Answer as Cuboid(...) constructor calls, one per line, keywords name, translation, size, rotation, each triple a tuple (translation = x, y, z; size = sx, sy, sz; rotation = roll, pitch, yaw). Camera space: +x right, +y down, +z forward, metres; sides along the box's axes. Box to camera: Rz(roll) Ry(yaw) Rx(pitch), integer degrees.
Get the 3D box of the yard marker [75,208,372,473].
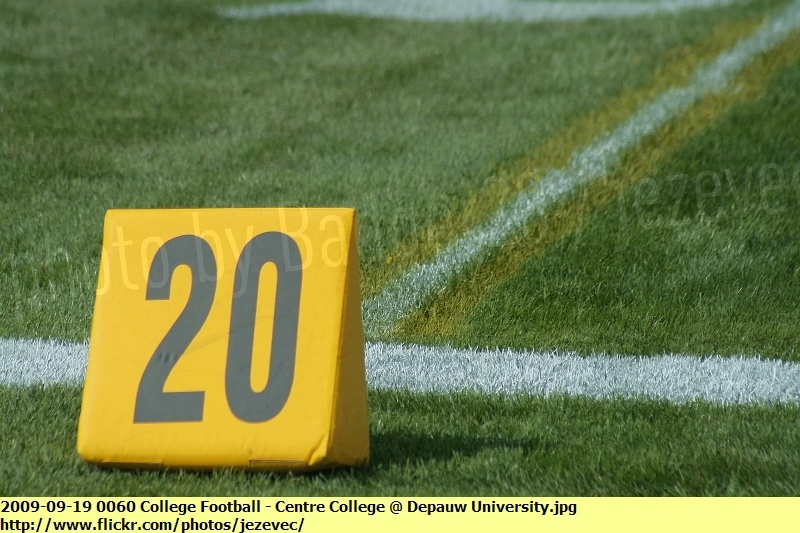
Cuboid(name="yard marker", translation=(-1.378, 0.571, 12.318), size=(2.466, 0.872, 2.075), rotation=(-3, 89, 29))
